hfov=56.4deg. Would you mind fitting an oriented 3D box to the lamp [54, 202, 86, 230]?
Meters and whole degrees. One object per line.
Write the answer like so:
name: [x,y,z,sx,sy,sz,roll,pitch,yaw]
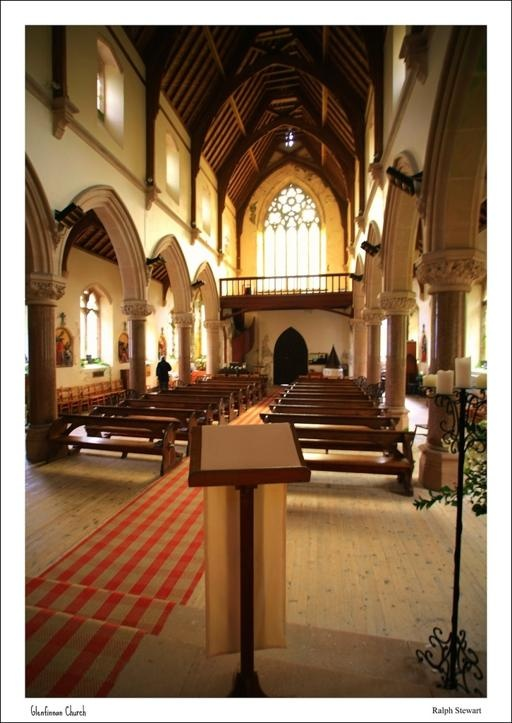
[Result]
lamp: [-2.503,-1.990,6.394,0.352,0.398,0.287,2,-3,-25]
